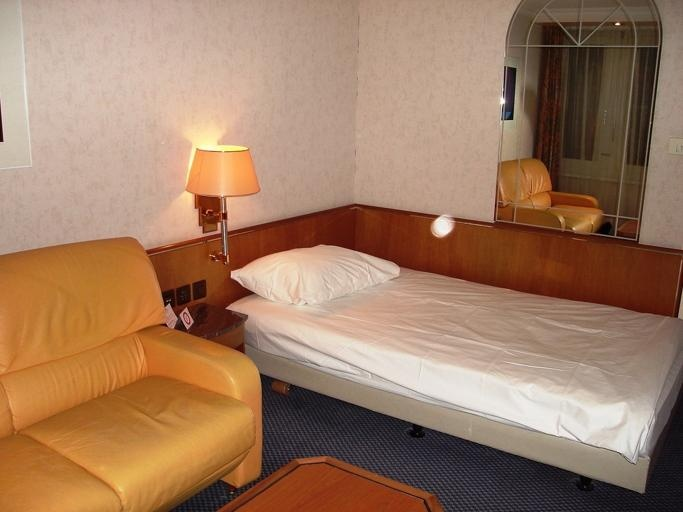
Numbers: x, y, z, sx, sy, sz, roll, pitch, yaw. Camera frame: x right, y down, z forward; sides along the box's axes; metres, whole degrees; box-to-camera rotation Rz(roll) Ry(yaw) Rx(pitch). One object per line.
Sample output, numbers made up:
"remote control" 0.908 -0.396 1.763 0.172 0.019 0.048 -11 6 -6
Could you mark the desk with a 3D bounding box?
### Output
"desk" -0.808 0.385 3.025 0.357 0.181 0.276 13 23 33
